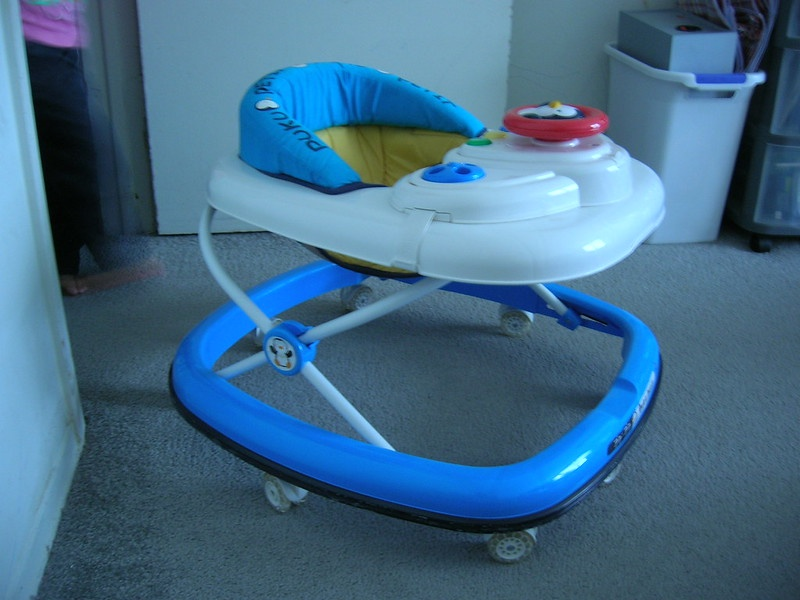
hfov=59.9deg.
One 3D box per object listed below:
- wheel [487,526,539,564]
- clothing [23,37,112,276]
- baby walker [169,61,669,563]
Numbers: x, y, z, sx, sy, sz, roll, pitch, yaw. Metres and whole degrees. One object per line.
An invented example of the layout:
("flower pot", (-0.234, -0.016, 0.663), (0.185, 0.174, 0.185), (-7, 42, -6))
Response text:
("wheel", (0.182, 0.410, 1.161), (0.082, 0.069, 0.024), (-27, 21, 14))
("clothing", (-0.863, -0.432, 1.831), (0.227, 0.606, 0.187), (-4, -3, 5))
("baby walker", (0.054, -0.057, 1.380), (0.941, 0.764, 0.836), (11, 27, 20))
